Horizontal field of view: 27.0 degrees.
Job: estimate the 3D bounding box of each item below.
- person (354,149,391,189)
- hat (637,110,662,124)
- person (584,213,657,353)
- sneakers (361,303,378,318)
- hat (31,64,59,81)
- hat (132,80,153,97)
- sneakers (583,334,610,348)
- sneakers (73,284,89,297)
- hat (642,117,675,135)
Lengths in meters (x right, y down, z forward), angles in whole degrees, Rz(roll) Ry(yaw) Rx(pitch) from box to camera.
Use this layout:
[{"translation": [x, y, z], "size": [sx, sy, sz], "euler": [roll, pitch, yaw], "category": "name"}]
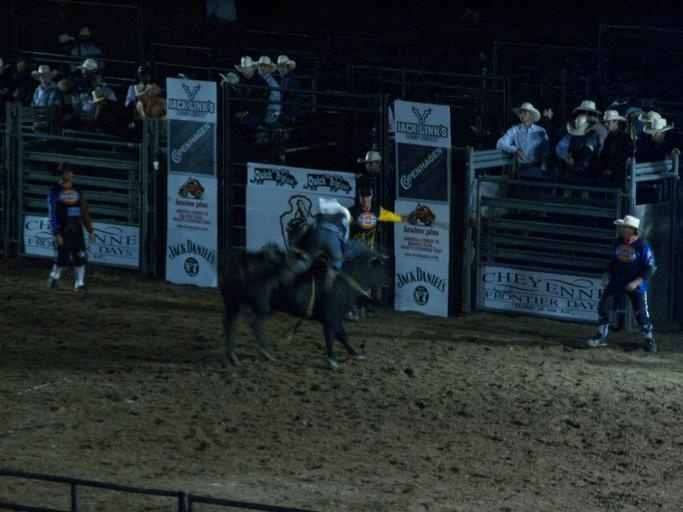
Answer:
[{"translation": [0.700, -1.977, 31.337], "size": [0.626, 0.483, 0.935], "euler": [0, 0, -20], "category": "person"}, {"translation": [6.895, -3.137, 31.959], "size": [0.451, 0.195, 0.530], "euler": [1, 8, 7], "category": "hat"}, {"translation": [5.858, 0.553, 29.223], "size": [1.263, 2.751, 0.477], "euler": [3, 5, 10], "category": "person"}, {"translation": [0.602, 1.184, 30.843], "size": [0.303, 0.139, 0.393], "euler": [0, 4, -5], "category": "sneakers"}, {"translation": [-7.211, -4.602, 34.788], "size": [0.582, 0.230, 0.606], "euler": [-5, -7, -6], "category": "hat"}, {"translation": [-4.651, -3.921, 33.201], "size": [0.547, 0.273, 0.412], "euler": [4, 16, 29], "category": "hat"}, {"translation": [5.280, 1.759, 29.383], "size": [0.485, 0.197, 0.206], "euler": [1, 31, -26], "category": "sneakers"}, {"translation": [-5.558, 0.723, 30.629], "size": [0.342, 0.213, 0.178], "euler": [8, 17, 33], "category": "sneakers"}, {"translation": [7.033, -2.927, 31.899], "size": [0.454, 0.189, 0.492], "euler": [-15, 15, -33], "category": "hat"}]
